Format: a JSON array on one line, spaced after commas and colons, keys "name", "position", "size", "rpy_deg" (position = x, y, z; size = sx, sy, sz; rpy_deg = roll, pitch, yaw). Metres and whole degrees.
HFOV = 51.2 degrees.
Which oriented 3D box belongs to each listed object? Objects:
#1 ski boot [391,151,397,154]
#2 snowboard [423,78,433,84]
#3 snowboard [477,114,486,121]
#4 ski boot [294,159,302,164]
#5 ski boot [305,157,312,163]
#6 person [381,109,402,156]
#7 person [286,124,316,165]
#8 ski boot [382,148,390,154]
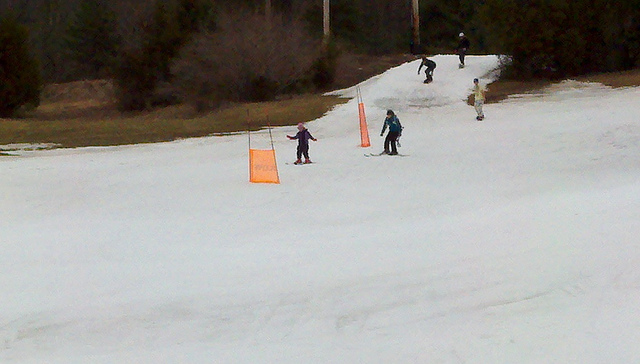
[{"name": "ski boot", "position": [3.227, -1.260, 29.006], "size": [0.243, 0.127, 0.077], "rpy_deg": [-5, 13, -2]}, {"name": "snowboard", "position": [6.582, -6.106, 40.795], "size": [0.458, 0.336, 0.171], "rpy_deg": [-1, 4, 33]}, {"name": "snowboard", "position": [8.061, -3.210, 33.267], "size": [0.268, 0.144, 0.349], "rpy_deg": [5, -32, -30]}, {"name": "ski boot", "position": [-0.933, -0.905, 28.502], "size": [0.321, 0.198, 0.523], "rpy_deg": [-5, 14, -1]}, {"name": "ski boot", "position": [-0.494, -0.948, 28.453], "size": [0.194, 0.269, 0.448], "rpy_deg": [0, 15, 18]}, {"name": "person", "position": [3.104, -2.156, 28.978], "size": [0.872, 1.960, 1.317], "rpy_deg": [-4, 13, 6]}, {"name": "person", "position": [-0.848, -1.615, 29.991], "size": [1.508, 2.113, 0.989], "rpy_deg": [-15, -23, 35]}, {"name": "ski boot", "position": [2.877, -1.337, 29.060], "size": [0.303, 0.271, 0.110], "rpy_deg": [-5, 13, 0]}]
